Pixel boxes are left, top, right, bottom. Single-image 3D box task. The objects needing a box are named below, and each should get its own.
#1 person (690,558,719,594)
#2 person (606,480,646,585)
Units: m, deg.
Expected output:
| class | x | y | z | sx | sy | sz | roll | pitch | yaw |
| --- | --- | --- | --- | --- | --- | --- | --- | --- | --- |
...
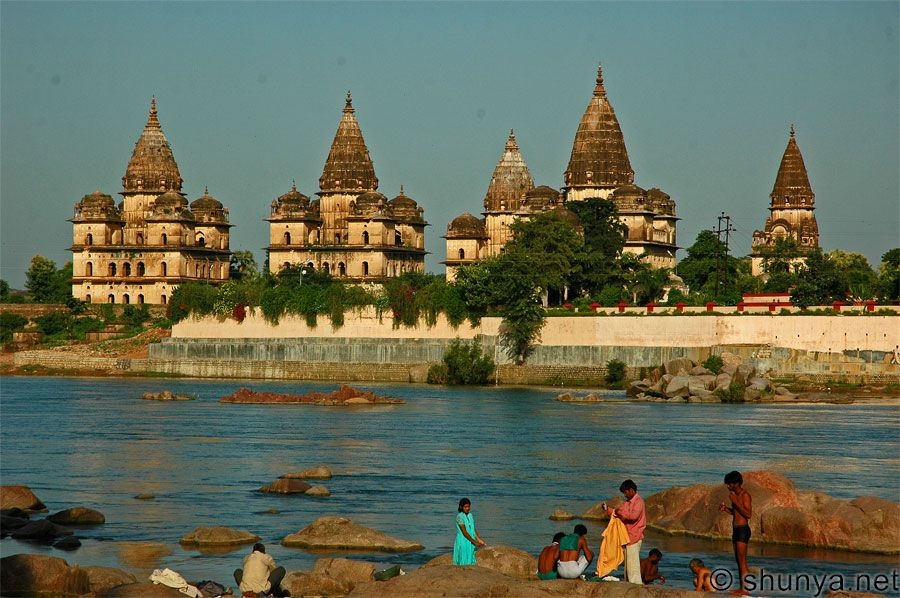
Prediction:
| class | x | y | z | sx | sy | sz | roll | pitch | yaw |
| --- | --- | --- | --- | --- | --- | --- | --- | --- | --- |
| person | 7.932 | 8.526 | 73.090 | 0.684 | 0.921 | 1.121 | 2 | -3 | -1 |
| person | 5.651 | 7.182 | 73.379 | 0.943 | 3.152 | 1.218 | 2 | -3 | 3 |
